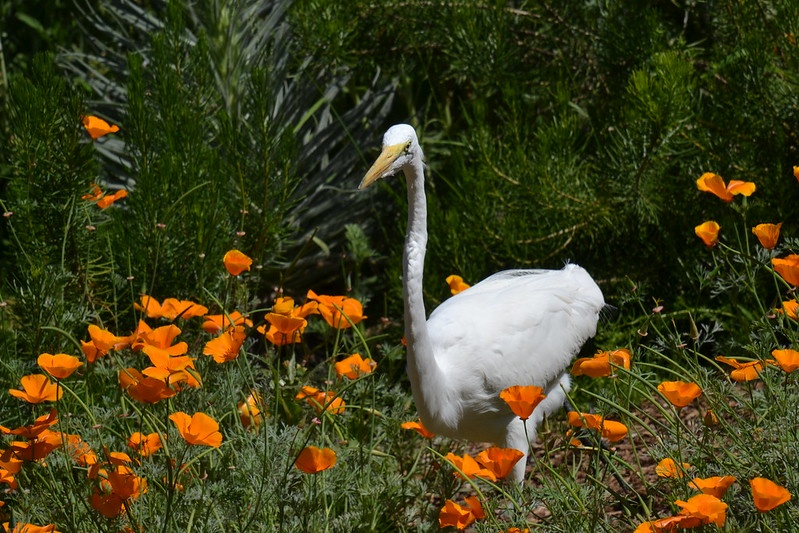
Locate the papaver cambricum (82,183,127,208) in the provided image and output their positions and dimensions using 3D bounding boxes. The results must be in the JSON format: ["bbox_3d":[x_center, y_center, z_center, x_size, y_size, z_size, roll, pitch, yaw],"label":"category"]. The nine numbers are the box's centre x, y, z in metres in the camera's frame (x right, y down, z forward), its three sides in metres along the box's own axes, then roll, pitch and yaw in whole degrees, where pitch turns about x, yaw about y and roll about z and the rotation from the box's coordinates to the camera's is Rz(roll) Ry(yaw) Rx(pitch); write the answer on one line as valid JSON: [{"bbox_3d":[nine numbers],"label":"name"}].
[{"bbox_3d":[-1.403,-0.322,4.666,0.129,0.075,0.157,10,10,-5],"label":"papaver cambricum"}]

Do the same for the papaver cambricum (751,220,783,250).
[{"bbox_3d":[1.507,-0.121,4.040,0.116,0.148,0.134,6,-4,0],"label":"papaver cambricum"}]

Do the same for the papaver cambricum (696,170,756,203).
[{"bbox_3d":[1.351,-0.335,4.146,0.277,0.143,0.193,0,-5,-21],"label":"papaver cambricum"}]

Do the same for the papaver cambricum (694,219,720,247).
[{"bbox_3d":[1.266,-0.136,4.065,0.079,0.115,0.200,-4,-5,21],"label":"papaver cambricum"}]
